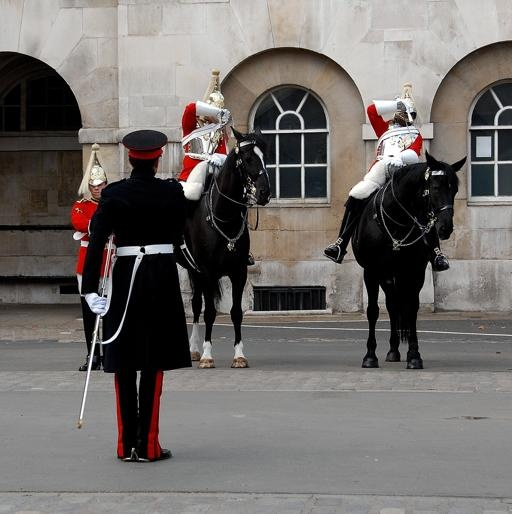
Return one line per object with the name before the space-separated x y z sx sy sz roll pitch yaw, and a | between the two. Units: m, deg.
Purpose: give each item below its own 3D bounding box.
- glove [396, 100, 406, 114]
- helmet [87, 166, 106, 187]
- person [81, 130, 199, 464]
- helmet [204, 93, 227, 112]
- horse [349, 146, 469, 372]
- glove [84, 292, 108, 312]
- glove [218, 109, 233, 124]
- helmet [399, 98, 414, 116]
glove | 1.549 -1.613 16.639 0.105 0.131 0.115 2 0 4
helmet | -1.702 -0.839 16.187 0.143 0.146 0.217 -7 23 5
person | -0.905 0.304 11.607 0.862 2.520 0.334 2 0 -14
helmet | -0.447 -1.804 17.988 0.238 0.270 0.317 6 3 -23
horse | 1.534 0.099 15.749 0.796 2.225 2.091 2 0 -7
glove | -1.211 0.361 11.497 0.173 0.163 0.268 2 0 -6
glove | -0.389 -1.551 17.099 0.159 0.150 0.043 -11 12 -15
helmet | 1.620 -1.617 16.657 0.157 0.200 0.204 5 8 32
